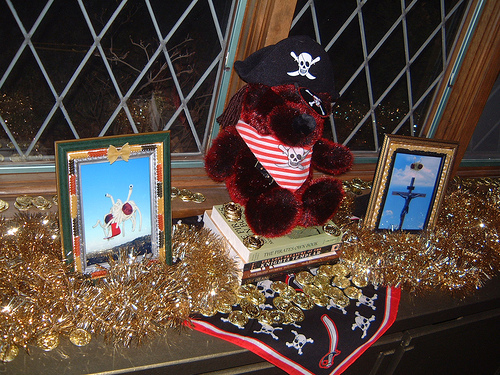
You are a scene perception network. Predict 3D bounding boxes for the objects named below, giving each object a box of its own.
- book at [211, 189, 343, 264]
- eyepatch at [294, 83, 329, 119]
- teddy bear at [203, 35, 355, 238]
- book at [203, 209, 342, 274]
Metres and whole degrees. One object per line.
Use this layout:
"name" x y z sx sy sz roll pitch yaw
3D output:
"book" 0.097 0.160 1.485 0.403 0.113 0.286 -4 33 -23
"eyepatch" 0.197 -0.291 1.414 0.112 0.107 0.122 2 29 -1
"teddy bear" 0.097 -0.180 1.409 0.494 0.662 0.273 7 15 10
"book" 0.066 0.221 1.423 0.246 0.053 0.269 -7 33 -24
